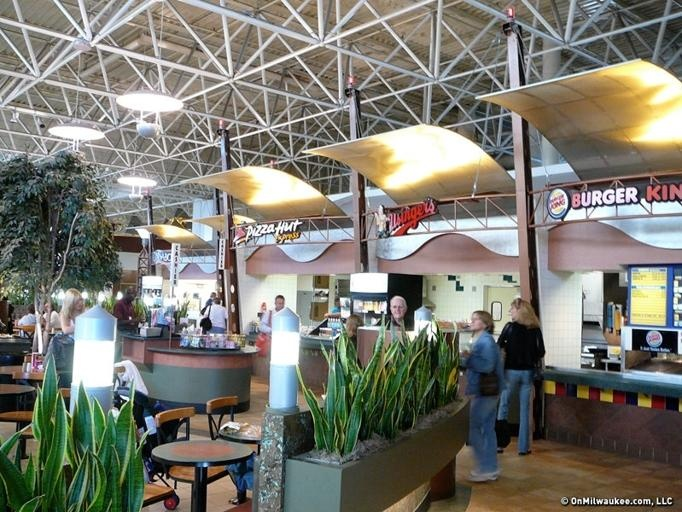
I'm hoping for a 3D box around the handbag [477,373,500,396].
[{"bbox_3d":[1.405,1.233,5.274,0.196,0.285,0.155,1,9,8],"label":"handbag"}]

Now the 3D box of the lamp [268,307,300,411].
[{"bbox_3d":[-0.321,0.581,3.114,0.165,0.577,0.183,0,-6,-8],"label":"lamp"}]
